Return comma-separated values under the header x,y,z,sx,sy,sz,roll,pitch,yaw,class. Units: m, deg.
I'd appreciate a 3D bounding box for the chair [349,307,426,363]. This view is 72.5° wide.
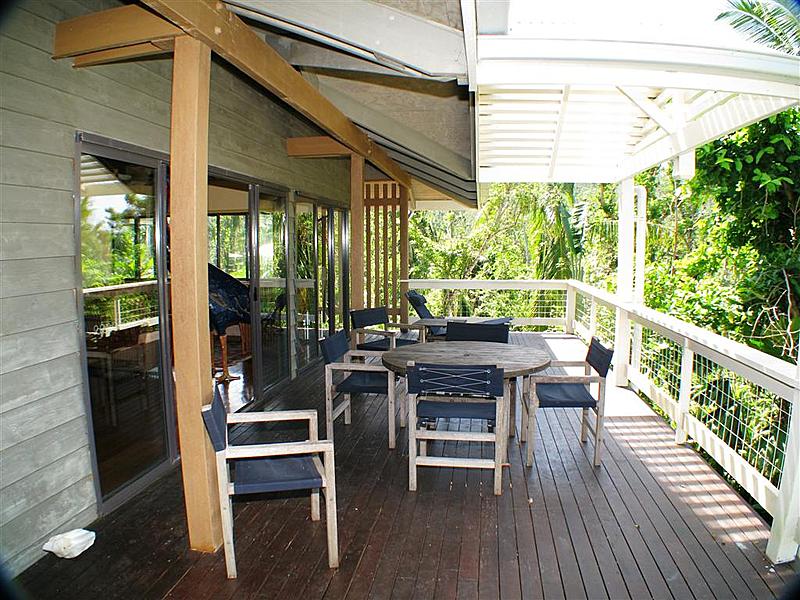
x,y,z,sx,sy,sz,roll,pitch,yaw,class
-0.301,0.392,6.849,0.595,0.831,0.840,1,4,29,chair

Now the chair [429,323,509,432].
x,y,z,sx,sy,sz,roll,pitch,yaw,class
0.837,0.685,5.861,0.813,1.263,0.860,0,6,6,chair

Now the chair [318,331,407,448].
x,y,z,sx,sy,sz,roll,pitch,yaw,class
-0.365,0.780,5.406,0.905,1.256,0.939,0,3,9,chair

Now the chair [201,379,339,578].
x,y,z,sx,sy,sz,roll,pitch,yaw,class
-0.841,1.076,3.889,0.980,1.365,0.997,-2,4,-9,chair

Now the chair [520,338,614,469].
x,y,z,sx,sy,sz,roll,pitch,yaw,class
1.472,0.785,5.058,0.912,1.422,1.020,1,1,5,chair

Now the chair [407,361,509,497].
x,y,z,sx,sy,sz,roll,pitch,yaw,class
0.493,0.932,4.513,0.873,1.326,0.921,0,8,6,chair
